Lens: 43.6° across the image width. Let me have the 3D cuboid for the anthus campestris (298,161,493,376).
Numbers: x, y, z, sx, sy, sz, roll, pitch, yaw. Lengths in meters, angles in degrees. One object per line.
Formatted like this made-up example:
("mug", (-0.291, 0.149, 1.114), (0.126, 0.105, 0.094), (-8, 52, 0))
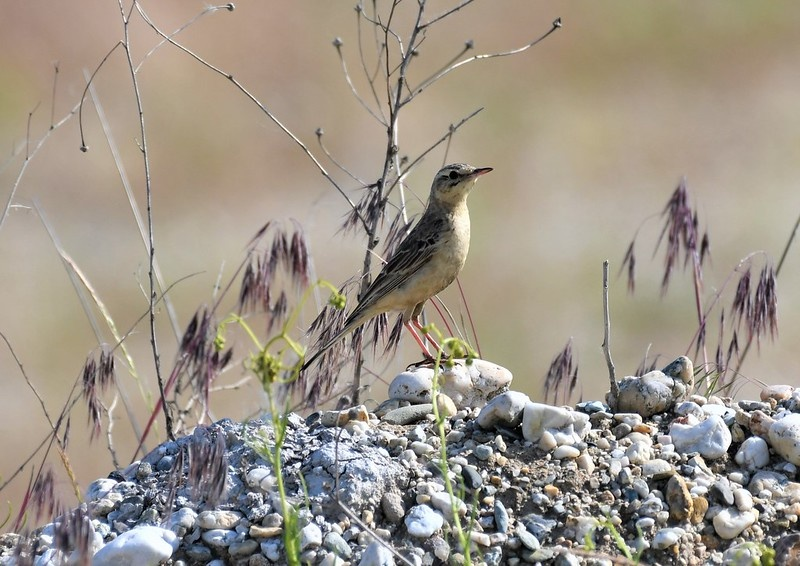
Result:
("anthus campestris", (0.123, -0.223, 7.572), (0.982, 1.463, 0.436), (3, -24, -3))
